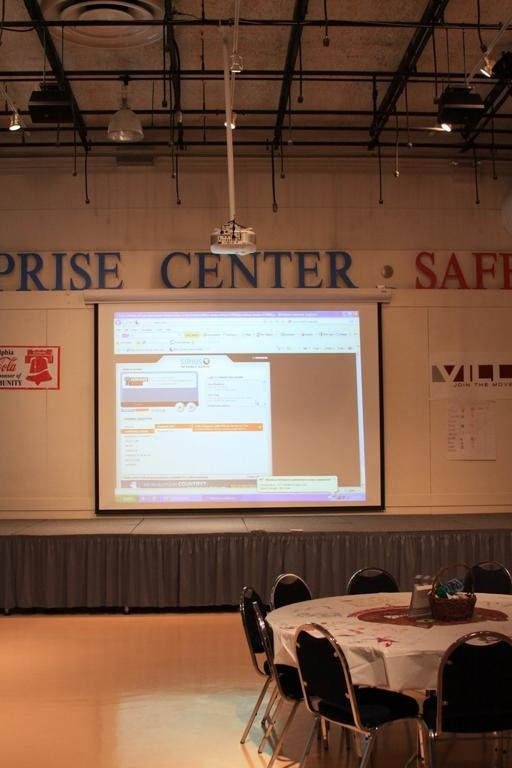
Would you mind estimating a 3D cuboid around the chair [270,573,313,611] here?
[{"bbox_3d":[0.200,1.224,4.698,0.179,0.313,0.209,4,-16,-24],"label":"chair"}]

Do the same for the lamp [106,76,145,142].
[{"bbox_3d":[-1.094,-2.263,6.586,0.220,0.396,0.238,-1,-1,-1],"label":"lamp"}]

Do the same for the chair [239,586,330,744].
[{"bbox_3d":[0.143,1.418,4.132,0.421,0.706,0.385,-7,-12,27],"label":"chair"}]

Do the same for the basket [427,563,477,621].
[{"bbox_3d":[0.993,1.032,3.967,0.208,0.276,0.211,12,-12,-41],"label":"basket"}]

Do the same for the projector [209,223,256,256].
[{"bbox_3d":[-0.157,-1.002,5.472,0.297,0.220,0.287,-3,0,9],"label":"projector"}]

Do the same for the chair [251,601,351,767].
[{"bbox_3d":[0.095,1.566,4.262,0.633,0.968,0.511,0,-5,-7],"label":"chair"}]
